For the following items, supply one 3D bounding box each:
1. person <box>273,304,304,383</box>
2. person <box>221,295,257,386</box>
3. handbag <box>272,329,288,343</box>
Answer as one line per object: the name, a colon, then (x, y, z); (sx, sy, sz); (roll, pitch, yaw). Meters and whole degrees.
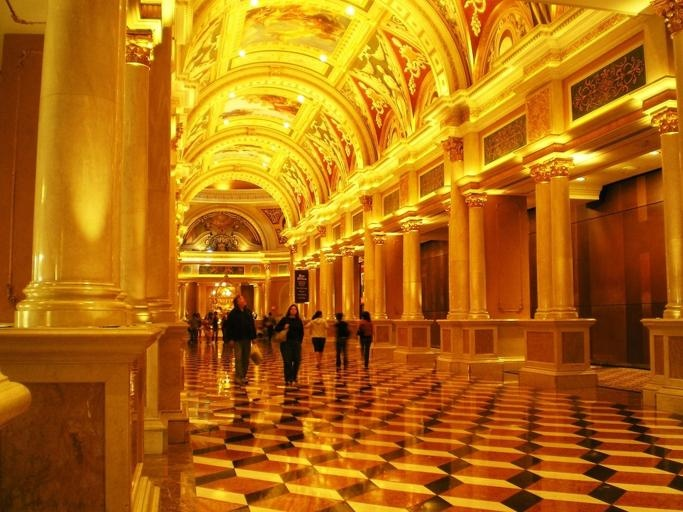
person: (-1.078, 1.765, 10.921); (0.537, 1.585, 1.371); (0, -6, -6)
person: (-2.007, 1.640, 10.493); (0.584, 1.745, 1.451); (1, -6, -12)
handbag: (-1.176, 1.580, 10.308); (0.287, 0.212, 0.376); (-2, 21, 5)
